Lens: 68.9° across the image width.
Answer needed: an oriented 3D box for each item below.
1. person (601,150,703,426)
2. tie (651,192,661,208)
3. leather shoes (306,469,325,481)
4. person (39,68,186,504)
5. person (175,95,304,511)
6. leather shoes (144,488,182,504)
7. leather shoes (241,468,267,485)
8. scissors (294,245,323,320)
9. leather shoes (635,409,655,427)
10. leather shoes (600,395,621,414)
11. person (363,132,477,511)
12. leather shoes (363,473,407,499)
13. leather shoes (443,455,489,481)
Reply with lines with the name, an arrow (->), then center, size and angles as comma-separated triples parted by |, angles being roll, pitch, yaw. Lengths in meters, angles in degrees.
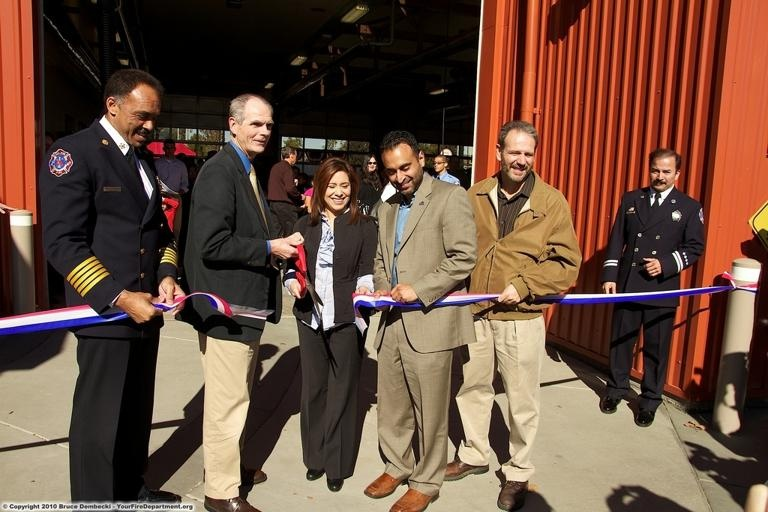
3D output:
person -> 2.544, 0.280, 5.410 | 0.838, 2.580, 0.504 | 9, 9, 30
tie -> 2.621, -0.529, 5.391 | 0.033, 0.133, 0.092 | 12, -8, -39
leather shoes -> -0.549, 1.714, 4.400 | 0.110, 0.040, 0.075 | 5, -9, -25
person -> -1.744, 0.292, 3.651 | 0.844, 2.969, 0.614 | 0, 9, -32
person -> -1.050, 0.350, 3.936 | 0.760, 2.930, 0.572 | 2, 8, -20
leather shoes -> -1.586, 1.706, 4.023 | 0.292, 0.118, 0.101 | 1, 5, -8
leather shoes -> -1.011, 1.704, 4.320 | 0.225, 0.144, 0.084 | -5, 39, -9
scissors -> -0.546, 0.255, 4.236 | 0.126, 0.739, 0.129 | -13, 41, -3
leather shoes -> 2.509, 1.531, 5.385 | 0.185, 0.132, 0.291 | 9, 9, 27
leather shoes -> 2.234, 1.472, 5.566 | 0.113, 0.102, 0.241 | 2, 3, 39
person -> 0.261, 0.493, 4.094 | 0.799, 2.716, 0.514 | 6, 8, 9
leather shoes -> 0.006, 1.743, 4.304 | 0.128, 0.116, 0.322 | 2, -2, 44
leather shoes -> 0.659, 1.720, 4.566 | 0.370, 0.174, 0.148 | 2, -3, -11
